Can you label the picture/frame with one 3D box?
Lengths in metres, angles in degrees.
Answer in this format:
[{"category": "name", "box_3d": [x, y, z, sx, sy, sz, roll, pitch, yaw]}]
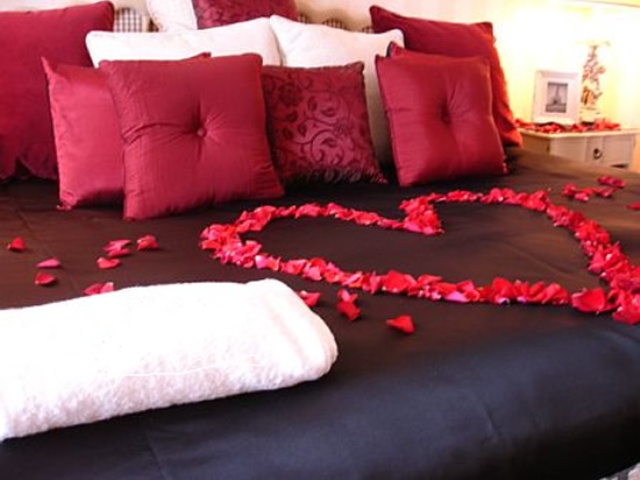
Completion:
[{"category": "picture/frame", "box_3d": [1.631, -0.988, 3.131, 0.311, 0.346, 0.211, 4, 26, 13]}]
